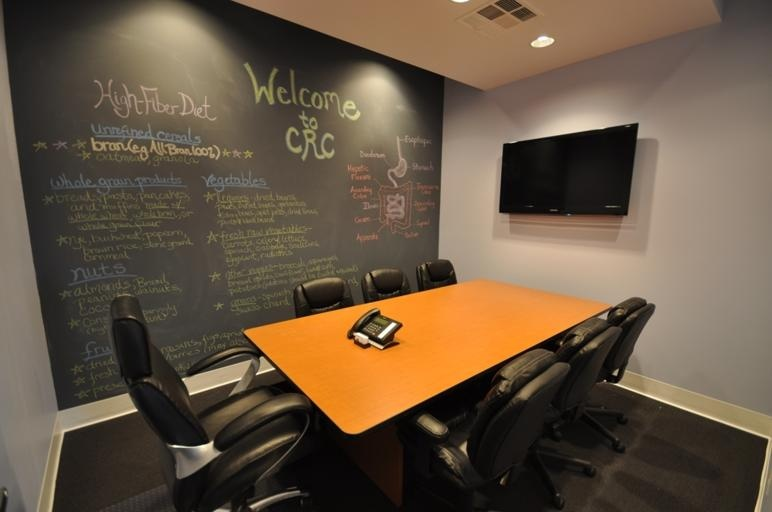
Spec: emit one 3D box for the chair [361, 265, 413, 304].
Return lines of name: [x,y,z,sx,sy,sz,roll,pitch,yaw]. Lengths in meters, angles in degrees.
chair: [-0.010,0.289,5.076,0.338,0.465,0.376,-6,13,-33]

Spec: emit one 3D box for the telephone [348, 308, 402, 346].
telephone: [-0.104,0.516,4.032,0.309,0.156,0.309,-22,32,-37]

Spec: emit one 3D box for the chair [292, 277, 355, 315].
chair: [-0.615,0.366,4.738,0.387,0.537,0.432,-5,10,-36]

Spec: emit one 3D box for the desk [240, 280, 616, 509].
desk: [0.060,0.708,4.148,3.115,1.180,1.540,-15,25,-40]

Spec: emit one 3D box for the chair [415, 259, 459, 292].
chair: [0.519,0.213,5.545,0.325,0.455,0.366,-7,12,-31]
